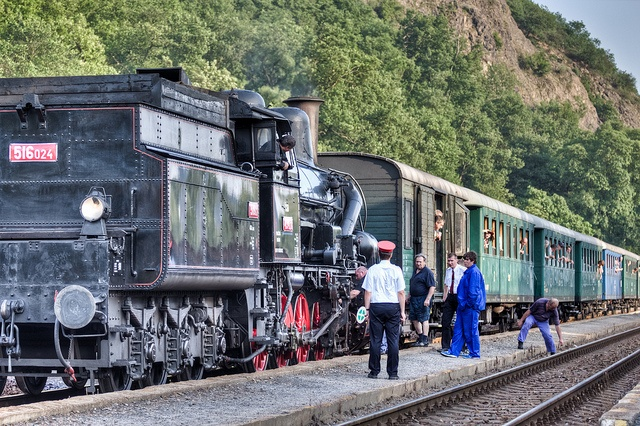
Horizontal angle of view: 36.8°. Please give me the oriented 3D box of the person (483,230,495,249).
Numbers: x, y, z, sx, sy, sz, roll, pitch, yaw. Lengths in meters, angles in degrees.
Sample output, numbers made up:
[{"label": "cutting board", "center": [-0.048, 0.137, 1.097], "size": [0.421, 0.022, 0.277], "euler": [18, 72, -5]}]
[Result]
[{"label": "person", "center": [5.253, 0.837, 30.041], "size": [0.314, 0.745, 0.596], "euler": [0, -1, 29]}]

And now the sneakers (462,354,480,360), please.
[{"label": "sneakers", "center": [3.353, 3.229, 21.462], "size": [0.383, 0.171, 0.135], "euler": [6, -3, 15]}]

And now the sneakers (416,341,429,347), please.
[{"label": "sneakers", "center": [2.534, 3.258, 23.785], "size": [0.292, 0.122, 0.114], "euler": [3, -1, 8]}]
